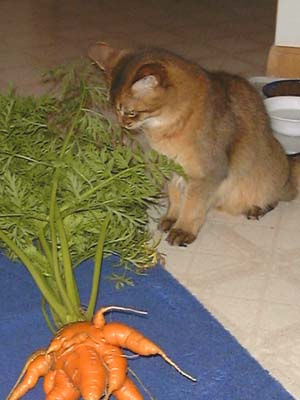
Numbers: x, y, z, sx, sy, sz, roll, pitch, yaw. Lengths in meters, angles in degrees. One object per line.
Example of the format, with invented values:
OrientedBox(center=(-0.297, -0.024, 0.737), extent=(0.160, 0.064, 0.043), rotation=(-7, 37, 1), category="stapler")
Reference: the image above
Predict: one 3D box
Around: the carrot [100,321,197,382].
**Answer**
OrientedBox(center=(-0.004, 0.408, 1.159), extent=(0.270, 0.055, 0.067), rotation=(21, 68, 8), category="carrot")

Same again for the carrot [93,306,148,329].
OrientedBox(center=(-0.075, 0.322, 1.203), extent=(0.143, 0.070, 0.028), rotation=(9, 12, 4), category="carrot")

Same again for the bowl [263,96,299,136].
OrientedBox(center=(0.565, -0.364, 1.887), extent=(0.170, 0.137, 0.233), rotation=(10, 29, 11), category="bowl")

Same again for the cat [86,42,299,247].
OrientedBox(center=(0.242, -0.211, 1.701), extent=(0.859, 0.727, 0.362), rotation=(-11, 34, -24), category="cat")
